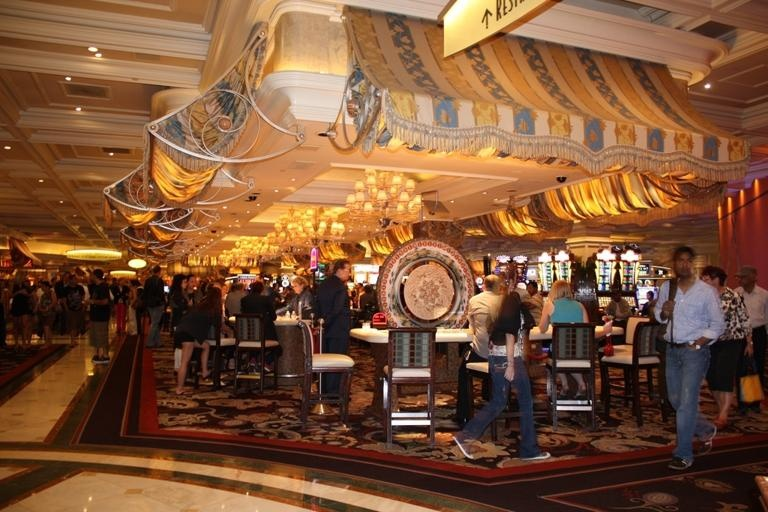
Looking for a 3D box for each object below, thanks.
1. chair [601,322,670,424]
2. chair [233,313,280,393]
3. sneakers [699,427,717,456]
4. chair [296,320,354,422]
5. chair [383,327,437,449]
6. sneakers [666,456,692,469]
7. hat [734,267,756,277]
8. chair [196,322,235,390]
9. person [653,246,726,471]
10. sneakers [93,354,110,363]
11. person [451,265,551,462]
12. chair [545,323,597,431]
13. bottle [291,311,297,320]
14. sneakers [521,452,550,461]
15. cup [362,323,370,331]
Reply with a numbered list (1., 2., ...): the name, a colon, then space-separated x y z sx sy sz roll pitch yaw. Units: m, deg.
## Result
1. chair: 3.672 1.640 8.057 0.783 1.159 0.836 6 -11 -29
2. chair: -2.255 1.682 9.693 0.750 1.383 1.598 1 0 -11
3. sneakers: 3.789 2.208 6.396 0.160 0.334 0.120 6 20 6
4. chair: -0.837 1.637 7.742 0.968 1.237 0.871 1 -8 5
5. chair: 0.314 1.633 6.785 0.608 1.020 0.421 1 0 2
6. sneakers: 3.323 2.324 6.077 0.312 0.117 0.104 -1 13 -13
7. hat: 5.678 0.262 8.538 0.293 0.132 0.193 7 -3 -3
8. chair: -3.076 1.744 10.163 0.391 0.636 0.408 16 -14 28
9. person: 3.486 1.142 6.230 0.627 2.474 0.490 1 0 0
10. sneakers: -6.073 2.222 11.618 0.314 0.153 0.301 0 1 -26
11. person: 1.416 1.419 6.384 0.999 1.562 0.386 1 0 15
12. chair: 2.496 1.616 7.232 0.575 1.217 0.454 1 0 11
13. bottle: -1.739 1.158 10.379 0.119 0.143 0.114 -4 -13 -1
14. sneakers: 1.758 2.350 6.330 0.327 0.093 0.122 -1 1 -13
15. cup: -0.288 1.109 8.299 0.110 0.102 0.103 0 4 0
